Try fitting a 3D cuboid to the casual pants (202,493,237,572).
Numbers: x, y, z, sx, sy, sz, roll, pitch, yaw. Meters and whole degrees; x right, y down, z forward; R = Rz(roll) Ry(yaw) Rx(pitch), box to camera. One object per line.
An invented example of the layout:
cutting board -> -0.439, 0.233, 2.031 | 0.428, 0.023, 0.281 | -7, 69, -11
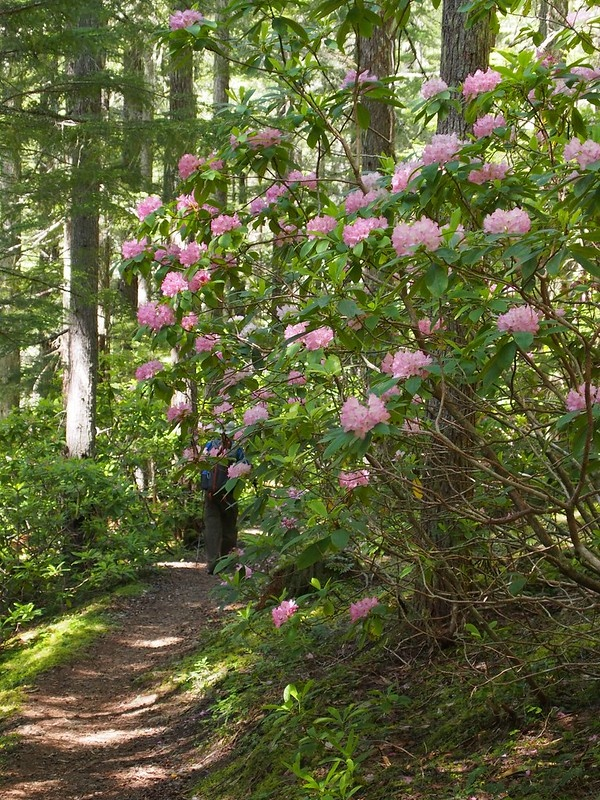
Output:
casual pants -> -0.824, 1.360, 8.836 | 0.376, 0.255, 1.125 | 9, 25, -15
